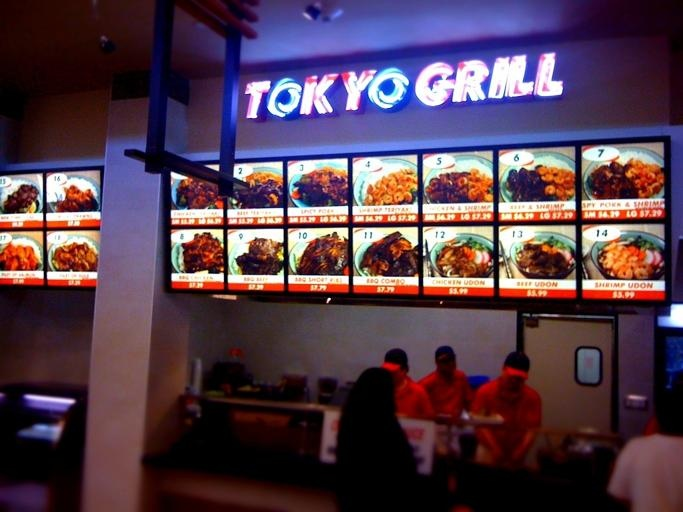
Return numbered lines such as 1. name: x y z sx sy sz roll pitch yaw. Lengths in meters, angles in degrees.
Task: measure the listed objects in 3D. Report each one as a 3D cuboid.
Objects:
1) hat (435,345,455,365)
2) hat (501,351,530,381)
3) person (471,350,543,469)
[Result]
1. hat: 0.889 0.895 5.410 0.148 0.117 0.197 4 -13 -41
2. hat: 1.455 0.952 5.074 0.179 0.158 0.259 11 23 3
3. person: 1.296 1.185 4.847 0.554 0.767 0.859 -1 -4 17
